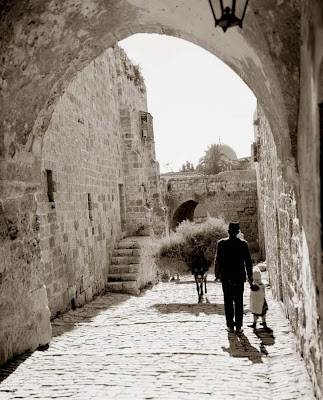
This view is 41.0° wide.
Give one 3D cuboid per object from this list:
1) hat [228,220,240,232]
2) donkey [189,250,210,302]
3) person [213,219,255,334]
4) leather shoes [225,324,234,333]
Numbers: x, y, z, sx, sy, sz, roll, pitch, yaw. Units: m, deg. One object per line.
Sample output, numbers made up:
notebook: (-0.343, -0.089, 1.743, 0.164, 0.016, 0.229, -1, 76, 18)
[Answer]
hat: (0.849, 0.306, 5.070, 0.097, 0.130, 0.112, 1, -3, 24)
donkey: (0.697, 1.318, 7.596, 0.276, 0.942, 0.338, 0, 3, 1)
person: (0.852, 0.882, 5.038, 0.354, 1.243, 0.469, -1, -3, -15)
leather shoes: (0.779, 1.462, 4.878, 0.097, 0.068, 0.146, -4, -5, 9)
